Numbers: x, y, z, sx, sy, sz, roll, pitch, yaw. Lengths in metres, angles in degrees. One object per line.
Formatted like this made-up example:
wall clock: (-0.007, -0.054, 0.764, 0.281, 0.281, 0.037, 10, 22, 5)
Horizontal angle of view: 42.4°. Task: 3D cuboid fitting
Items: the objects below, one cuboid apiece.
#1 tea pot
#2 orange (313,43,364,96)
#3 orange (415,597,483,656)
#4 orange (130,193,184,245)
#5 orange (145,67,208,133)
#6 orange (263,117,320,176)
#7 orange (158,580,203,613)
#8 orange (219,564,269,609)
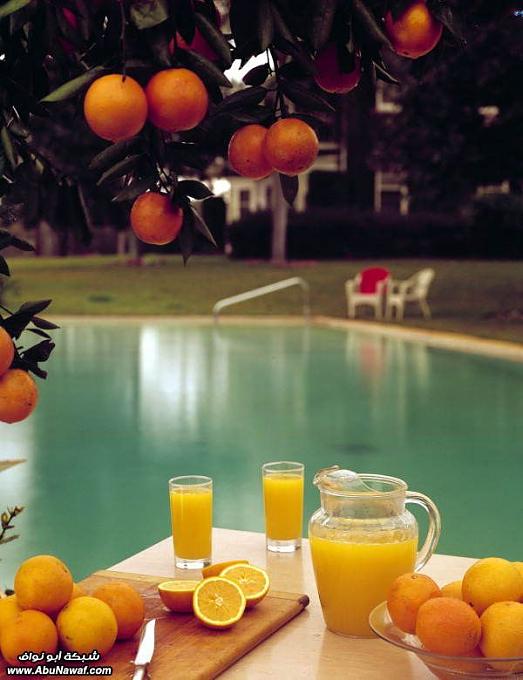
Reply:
tea pot: (0.123, 0.232, 0.744, 0.161, 0.155, 0.121, 3, -3, -8)
orange: (0.053, -0.193, 0.481, 0.036, 0.036, 0.034, 4, 3, 13)
orange: (0.144, 0.220, 0.518, 0.050, 0.040, 0.053, 10, -8, 3)
orange: (-0.067, -0.076, 0.428, 0.034, 0.036, 0.031, 5, 16, 1)
orange: (-0.049, -0.136, 0.384, 0.040, 0.035, 0.038, -14, 25, -16)
orange: (0.018, -0.118, 0.410, 0.032, 0.034, 0.031, 7, 12, 43)
orange: (-0.089, 0.263, 0.698, 0.041, 0.021, 0.038, 2, -1, 7)
orange: (-0.022, 0.279, 0.762, 0.053, 0.030, 0.052, 8, -3, 26)
